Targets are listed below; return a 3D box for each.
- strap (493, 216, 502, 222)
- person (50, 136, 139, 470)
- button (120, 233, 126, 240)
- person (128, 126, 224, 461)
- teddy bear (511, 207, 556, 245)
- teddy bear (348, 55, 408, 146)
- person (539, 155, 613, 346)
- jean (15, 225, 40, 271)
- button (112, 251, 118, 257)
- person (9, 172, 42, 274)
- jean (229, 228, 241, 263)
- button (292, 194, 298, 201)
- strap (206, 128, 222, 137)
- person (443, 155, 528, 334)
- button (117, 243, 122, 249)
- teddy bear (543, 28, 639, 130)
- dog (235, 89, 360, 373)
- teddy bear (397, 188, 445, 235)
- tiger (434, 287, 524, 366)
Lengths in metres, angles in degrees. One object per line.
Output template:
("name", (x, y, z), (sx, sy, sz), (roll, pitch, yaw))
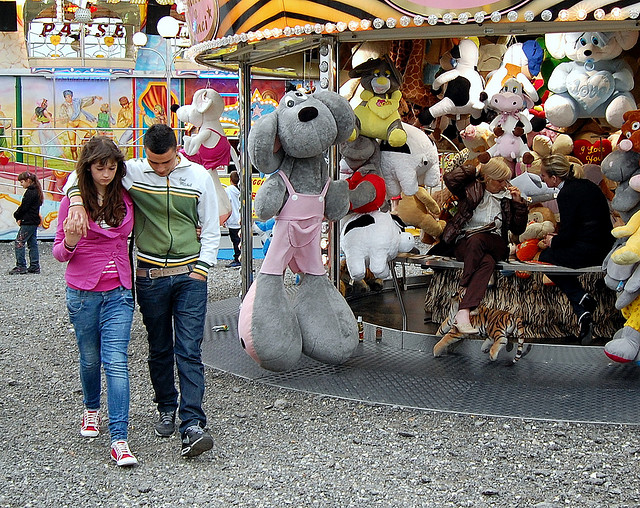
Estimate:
("strap", (1.620, -0.326, 5.094), (0.093, 0.048, 0.012), (-5, 8, -24))
("person", (-1.345, 0.275, 3.412), (0.475, 1.971, 0.640), (-4, 8, -19))
("button", (-1.228, -0.114, 3.477), (0.027, 0.044, 0.055), (-4, 8, -21))
("person", (-0.853, 0.218, 3.565), (0.514, 2.027, 0.749), (-6, 9, -35))
("teddy bear", (2.303, -0.319, 5.932), (0.506, 0.201, 0.367), (-36, 13, -34))
("teddy bear", (0.521, -1.519, 5.498), (0.606, 0.886, 0.571), (5, 12, -2))
("person", (2.391, -0.045, 5.234), (0.639, 1.757, 0.581), (2, 8, 24))
("jean", (-5.543, -0.132, 10.587), (0.433, 0.856, 0.415), (-8, 10, -43))
("button", (-1.268, -0.002, 3.454), (0.031, 0.033, 0.009), (0, -4, -37))
("person", (-5.503, -0.592, 10.505), (0.434, 1.879, 0.709), (5, 10, 38))
("jean", (-1.666, -0.199, 10.978), (0.184, 0.633, 0.484), (-2, 8, -10))
("button", (-0.192, -0.442, 4.340), (0.039, 0.049, 0.008), (-2, 8, -7))
("strap", (-1.418, -1.619, 7.436), (0.115, 0.032, 0.109), (34, -31, -28))
("person", (1.419, -0.135, 5.074), (0.604, 1.516, 0.915), (5, 10, 41))
("button", (-1.250, -0.056, 3.481), (0.034, 0.036, 0.010), (0, -3, -38))
("teddy bear", (3.073, -2.016, 6.372), (0.839, 1.134, 1.036), (-6, 9, -33))
("dog", (-0.146, -0.164, 4.392), (0.944, 2.180, 0.535), (-6, 9, -33))
("teddy bear", (1.140, -0.543, 5.969), (0.390, 0.248, 0.526), (-23, 20, -17))
("tiger", (1.427, 0.666, 5.144), (0.380, 0.702, 1.199), (23, -12, -37))
